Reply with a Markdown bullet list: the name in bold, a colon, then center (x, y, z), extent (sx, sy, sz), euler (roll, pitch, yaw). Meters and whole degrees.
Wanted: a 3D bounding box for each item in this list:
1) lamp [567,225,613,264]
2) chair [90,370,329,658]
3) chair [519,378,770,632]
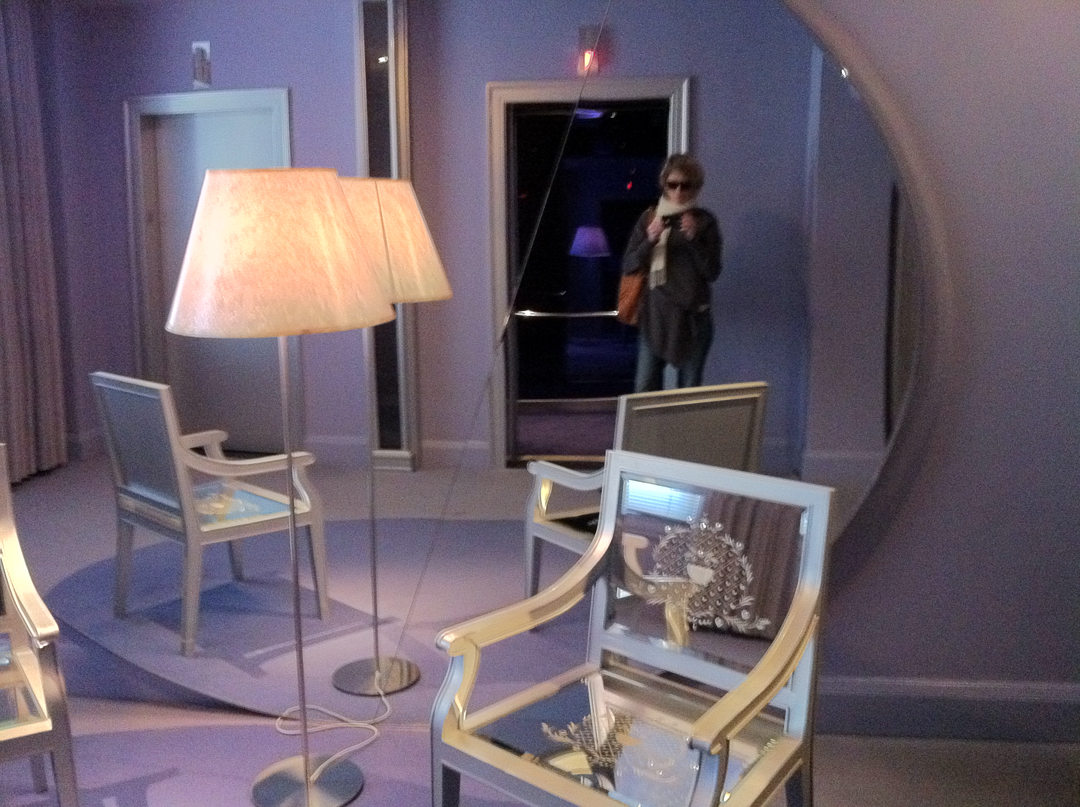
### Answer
- **lamp**: center (0.115, -0.377, 2.123), extent (0.079, 0.081, 0.080), euler (6, 15, 25)
- **chair**: center (-0.936, 0.276, 2.559), extent (0.436, 0.745, 0.499), euler (10, 12, 36)
- **chair**: center (0.271, 0.166, 2.353), extent (0.467, 0.703, 0.469), euler (-12, 22, -36)
